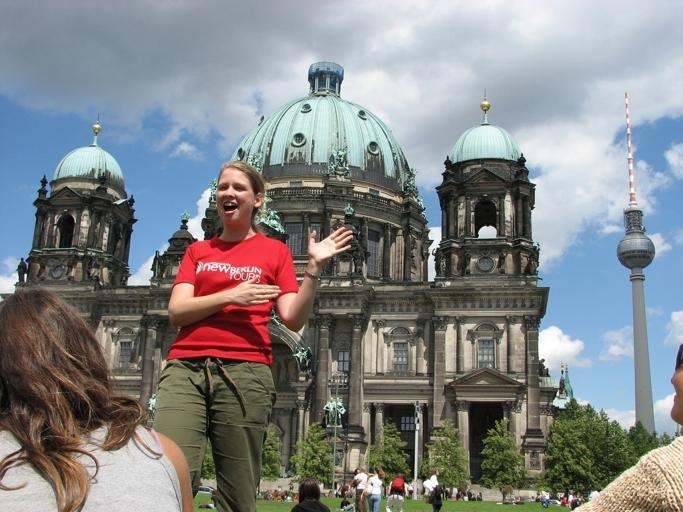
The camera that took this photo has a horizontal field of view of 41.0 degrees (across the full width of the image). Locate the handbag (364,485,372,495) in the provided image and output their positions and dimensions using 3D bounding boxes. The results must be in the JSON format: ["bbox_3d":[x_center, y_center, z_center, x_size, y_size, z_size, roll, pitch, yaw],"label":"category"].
[{"bbox_3d":[0.757,6.777,26.244,0.200,0.341,0.247,0,-6,5],"label":"handbag"}]

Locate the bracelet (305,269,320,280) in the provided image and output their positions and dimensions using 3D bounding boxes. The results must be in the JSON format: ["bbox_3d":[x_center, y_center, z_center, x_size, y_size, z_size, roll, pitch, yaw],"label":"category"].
[{"bbox_3d":[-0.254,0.149,7.501,0.090,0.040,0.072,-3,-20,17],"label":"bracelet"}]

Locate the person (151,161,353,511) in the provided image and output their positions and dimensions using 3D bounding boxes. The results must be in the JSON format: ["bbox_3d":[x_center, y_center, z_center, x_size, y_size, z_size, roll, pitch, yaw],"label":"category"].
[{"bbox_3d":[-0.820,0.523,7.288,1.344,3.020,1.188,7,-13,-22],"label":"person"}]
